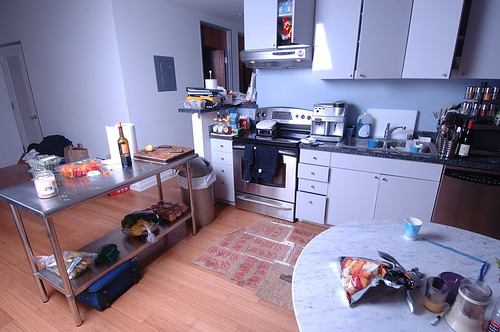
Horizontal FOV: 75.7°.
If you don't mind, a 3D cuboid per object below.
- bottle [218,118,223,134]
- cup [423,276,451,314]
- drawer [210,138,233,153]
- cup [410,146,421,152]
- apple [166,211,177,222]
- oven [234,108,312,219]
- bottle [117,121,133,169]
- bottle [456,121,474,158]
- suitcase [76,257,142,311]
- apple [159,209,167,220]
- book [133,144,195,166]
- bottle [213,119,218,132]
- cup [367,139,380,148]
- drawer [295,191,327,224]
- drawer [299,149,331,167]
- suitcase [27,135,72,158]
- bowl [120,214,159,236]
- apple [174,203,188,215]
[{"bbox_3d":[-0.420,-0.567,4.519,0.069,0.176,0.176,-3,19,-5],"label":"bottle"},{"bbox_3d":[1.354,0.933,2.382,0.147,0.206,0.215,-1,11,-21],"label":"cup"},{"bbox_3d":[-0.392,-0.288,4.478,0.237,0.141,0.232,7,15,24],"label":"drawer"},{"bbox_3d":[1.991,-0.211,3.874,0.081,0.058,0.078,-6,32,4],"label":"cup"},{"bbox_3d":[-0.966,0.601,3.913,0.105,0.107,0.127,-15,17,-42],"label":"apple"},{"bbox_3d":[0.335,-0.004,4.291,1.121,1.616,1.059,7,22,21],"label":"oven"},{"bbox_3d":[-1.349,-0.245,3.479,0.117,0.481,0.197,3,20,12],"label":"bottle"},{"bbox_3d":[2.355,-0.260,3.511,0.131,0.335,0.082,1,20,6],"label":"bottle"},{"bbox_3d":[-1.481,1.208,3.418,0.513,0.185,0.490,10,26,33],"label":"suitcase"},{"bbox_3d":[-1.079,0.586,3.952,0.089,0.051,0.088,16,25,31],"label":"apple"},{"bbox_3d":[-1.030,-0.160,3.794,0.476,0.142,0.587,11,22,33],"label":"book"},{"bbox_3d":[-0.492,-0.578,4.544,0.070,0.171,0.081,-3,20,-6],"label":"bottle"},{"bbox_3d":[1.568,-0.297,4.098,0.111,0.080,0.099,10,21,28],"label":"cup"},{"bbox_3d":[0.796,0.473,4.272,0.389,0.391,0.409,9,22,28],"label":"drawer"},{"bbox_3d":[0.814,-0.107,3.988,0.246,0.115,0.261,10,19,28],"label":"drawer"},{"bbox_3d":[-3.429,-0.372,5.571,0.457,0.190,0.576,5,13,9],"label":"suitcase"},{"bbox_3d":[-1.319,0.701,3.747,0.462,0.174,0.225,-3,19,-5],"label":"bowl"},{"bbox_3d":[-0.865,0.535,4.127,0.128,0.061,0.123,1,25,-5],"label":"apple"}]
